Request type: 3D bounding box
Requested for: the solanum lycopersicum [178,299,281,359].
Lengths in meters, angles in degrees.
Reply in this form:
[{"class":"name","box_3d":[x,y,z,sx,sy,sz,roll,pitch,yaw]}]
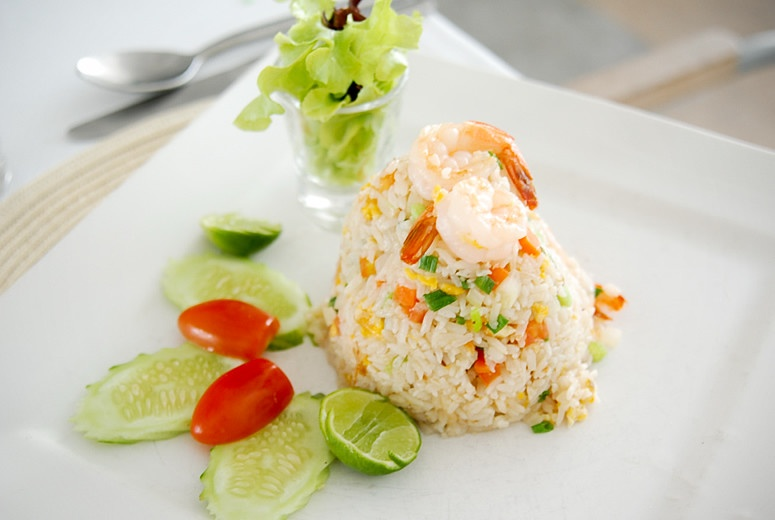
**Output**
[{"class":"solanum lycopersicum","box_3d":[-0.660,0.269,2.874,0.326,0.105,0.220,19,42,16]}]
